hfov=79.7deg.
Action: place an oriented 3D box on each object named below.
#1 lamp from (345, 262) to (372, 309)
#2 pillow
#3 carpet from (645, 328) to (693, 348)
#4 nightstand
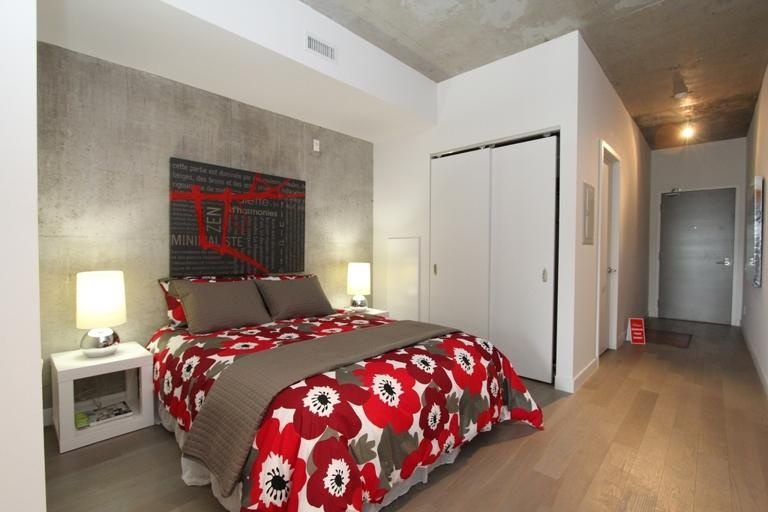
[{"bbox_3d":[-0.324,0.340,5.760,0.281,0.522,0.507,0,9,-5],"label":"lamp"},{"bbox_3d":[-1.300,0.450,4.475,1.740,0.455,0.522,-1,19,-38],"label":"pillow"},{"bbox_3d":[3.927,1.135,6.356,0.523,0.056,0.983,6,9,31],"label":"carpet"},{"bbox_3d":[-2.436,1.171,3.974,0.738,0.660,0.556,-5,10,-42],"label":"nightstand"}]
